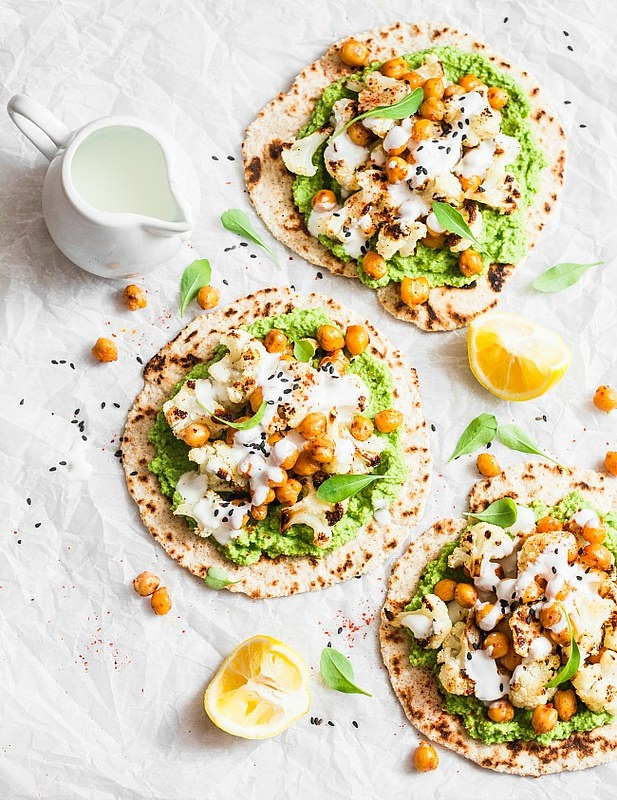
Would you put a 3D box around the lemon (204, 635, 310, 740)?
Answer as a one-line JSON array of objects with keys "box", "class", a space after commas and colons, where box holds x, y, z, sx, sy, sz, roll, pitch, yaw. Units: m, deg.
[{"box": [-0.188, 0.885, 2.661, 0.126, 0.392, 0.307, -11, 88, 42], "class": "lemon"}]

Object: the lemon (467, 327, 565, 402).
[{"box": [0.655, -0.110, 2.796, 0.317, 0.156, 0.215, 6, 78, 0], "class": "lemon"}]
